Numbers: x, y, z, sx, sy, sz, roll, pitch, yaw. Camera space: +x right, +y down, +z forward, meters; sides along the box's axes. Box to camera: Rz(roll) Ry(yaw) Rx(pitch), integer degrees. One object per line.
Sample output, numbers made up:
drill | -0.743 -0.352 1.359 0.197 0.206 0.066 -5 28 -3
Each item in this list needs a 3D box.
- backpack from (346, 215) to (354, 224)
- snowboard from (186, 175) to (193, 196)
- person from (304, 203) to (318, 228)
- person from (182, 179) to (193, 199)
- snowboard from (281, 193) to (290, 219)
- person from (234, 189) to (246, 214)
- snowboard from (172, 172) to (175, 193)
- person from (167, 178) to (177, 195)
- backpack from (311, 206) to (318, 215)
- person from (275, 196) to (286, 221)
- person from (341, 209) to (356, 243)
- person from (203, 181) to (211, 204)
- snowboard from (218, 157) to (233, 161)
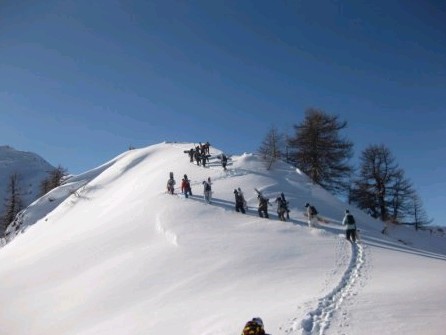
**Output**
backpack | 7.586 3.038 22.383 0.430 0.494 0.332 2 11 18
snowboard | -2.712 1.510 29.980 0.453 1.956 0.395 -9 6 20
person | 5.748 3.110 24.396 0.689 1.775 0.667 -24 22 -18
person | -2.766 1.619 30.054 0.724 1.514 1.656 -2 11 -4
snowboard | 4.502 2.815 27.166 0.341 1.662 0.536 -9 15 -2
person | 1.217 2.379 26.216 0.728 1.630 1.103 -2 11 -1
snowboard | -3.975 1.251 30.548 0.380 1.506 0.459 -2 -7 -3
person | -4.021 1.528 30.467 0.545 1.209 0.711 -5 11 -20
backpack | 5.834 2.749 24.131 0.391 0.486 0.358 -9 13 -35
person | 4.039 2.900 26.398 0.668 2.083 0.727 0 -27 3
person | 7.557 3.391 22.453 0.734 1.896 0.756 2 11 20
person | -1.051 1.850 27.930 0.401 1.436 0.659 -3 11 -9
snowboard | 0.101 -0.853 35.958 0.665 0.243 0.671 5 0 -37
